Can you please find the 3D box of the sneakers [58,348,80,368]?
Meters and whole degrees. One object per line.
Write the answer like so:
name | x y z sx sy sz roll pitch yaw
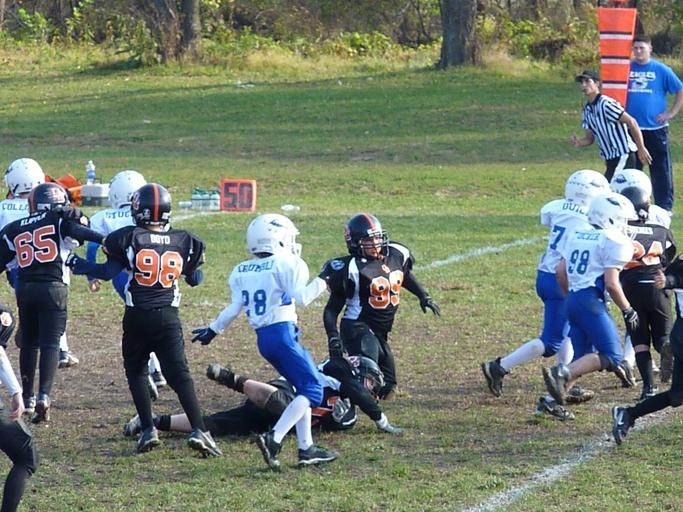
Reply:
sneakers | -3.948 1.484 19.985 0.137 0.171 0.378 -7 -2 16

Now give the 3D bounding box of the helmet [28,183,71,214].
helmet | -4.025 -0.773 19.017 0.499 0.434 0.384 -30 5 2

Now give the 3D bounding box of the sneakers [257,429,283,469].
sneakers | -0.942 2.484 18.035 0.299 0.582 0.197 -19 5 -4

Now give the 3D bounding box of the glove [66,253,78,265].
glove | -3.645 0.037 18.748 0.119 0.065 0.154 11 55 13

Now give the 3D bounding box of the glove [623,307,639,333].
glove | 3.927 0.873 18.989 0.251 0.340 0.175 -2 2 -7

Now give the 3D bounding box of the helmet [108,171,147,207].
helmet | -3.101 -0.968 20.018 0.471 0.495 0.562 -2 6 -39

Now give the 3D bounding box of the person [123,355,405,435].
person | -0.912 1.842 18.724 2.773 0.847 1.503 4 -11 -10

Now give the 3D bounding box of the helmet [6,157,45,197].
helmet | -4.591 -1.144 20.059 0.448 0.523 0.582 -4 3 -33

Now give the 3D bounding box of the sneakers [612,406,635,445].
sneakers | 3.686 2.194 18.240 0.289 0.587 0.204 -2 27 15

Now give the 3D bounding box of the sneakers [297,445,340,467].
sneakers | -0.356 2.576 18.017 0.615 0.262 0.209 -1 3 -16

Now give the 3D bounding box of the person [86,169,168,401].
person | -2.828 0.410 19.342 1.251 3.061 1.094 -11 33 -34

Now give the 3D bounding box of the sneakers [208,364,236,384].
sneakers | -1.612 1.557 18.336 0.341 0.228 0.155 12 -2 -21

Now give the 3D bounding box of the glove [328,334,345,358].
glove | -0.087 1.206 18.489 0.159 0.295 0.140 -16 -22 -11

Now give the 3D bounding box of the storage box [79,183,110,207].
storage box | -4.947 -1.236 27.791 0.592 0.523 0.805 -1 6 -13

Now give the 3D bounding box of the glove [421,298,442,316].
glove | 1.209 0.764 19.407 0.083 0.299 0.233 -43 4 11

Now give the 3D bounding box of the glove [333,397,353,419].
glove | 0.007 2.034 18.573 0.254 0.252 0.079 10 -7 -36

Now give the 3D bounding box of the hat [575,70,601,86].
hat | 3.894 -2.821 22.060 0.334 0.234 0.446 3 15 5

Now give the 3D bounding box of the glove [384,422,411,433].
glove | 0.739 2.300 18.626 0.325 0.138 0.120 2 11 0

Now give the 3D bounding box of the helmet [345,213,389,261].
helmet | 0.308 -0.331 19.041 0.665 0.532 0.488 13 29 39
